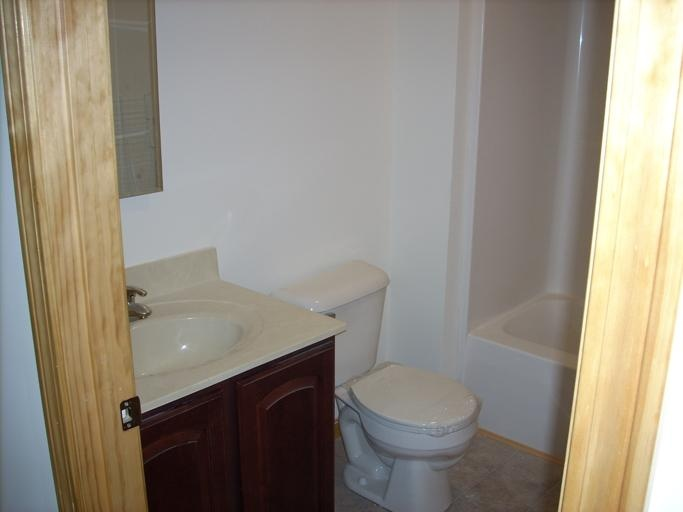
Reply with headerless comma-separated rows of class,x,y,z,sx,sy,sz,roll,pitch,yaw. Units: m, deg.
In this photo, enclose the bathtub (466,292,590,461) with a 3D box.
bathtub,1.020,0.578,2.740,0.448,0.373,0.842,9,17,38
